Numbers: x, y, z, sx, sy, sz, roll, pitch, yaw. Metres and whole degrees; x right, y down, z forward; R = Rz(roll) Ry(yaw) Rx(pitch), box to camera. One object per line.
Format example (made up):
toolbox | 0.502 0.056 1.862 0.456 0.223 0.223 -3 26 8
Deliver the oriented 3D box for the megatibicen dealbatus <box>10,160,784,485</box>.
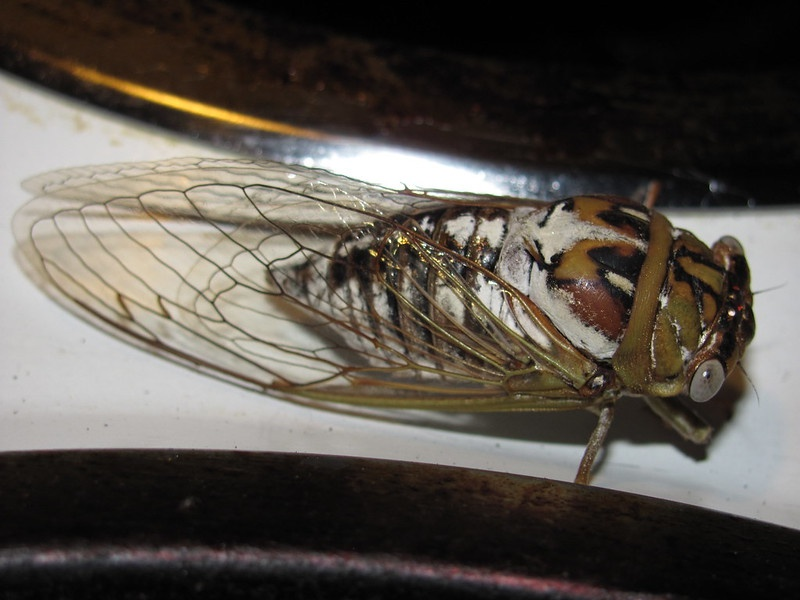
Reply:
megatibicen dealbatus | -0.030 0.008 1.739 1.363 0.411 0.674 11 48 6
